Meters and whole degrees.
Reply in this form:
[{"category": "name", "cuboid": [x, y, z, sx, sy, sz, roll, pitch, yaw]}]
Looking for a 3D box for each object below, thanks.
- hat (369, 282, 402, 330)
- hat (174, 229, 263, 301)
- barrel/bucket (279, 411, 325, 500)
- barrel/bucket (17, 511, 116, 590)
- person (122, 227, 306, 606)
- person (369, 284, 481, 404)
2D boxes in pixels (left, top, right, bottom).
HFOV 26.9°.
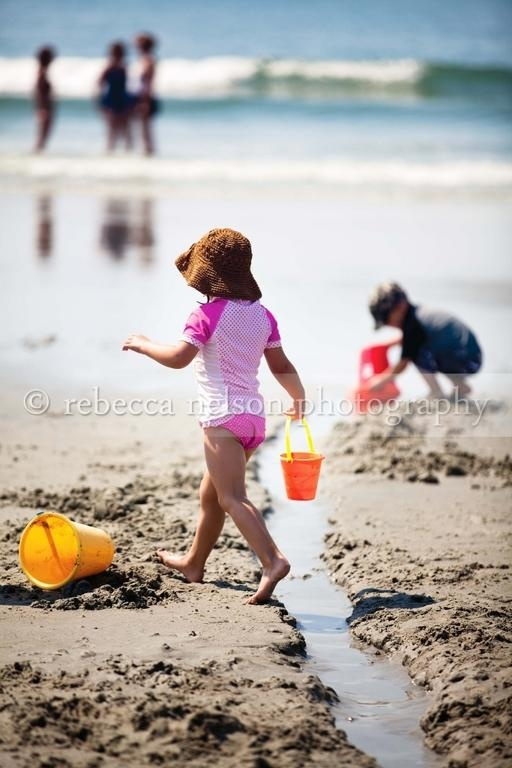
[{"category": "hat", "cuboid": [0.851, -0.513, 6.987, 0.245, 0.309, 0.210, 3, 3, 19]}, {"category": "hat", "cuboid": [-0.174, -0.623, 5.155, 0.472, 0.254, 0.515, 19, 21, -9]}, {"category": "barrel/bucket", "cuboid": [0.211, 0.354, 5.410, 0.277, 0.421, 0.283, 0, 6, 0]}, {"category": "barrel/bucket", "cuboid": [-0.963, 0.807, 5.282, 0.419, 0.364, 0.322, 3, 3, 24]}, {"category": "person", "cuboid": [-0.163, 0.154, 5.117, 0.780, 1.793, 0.516, 2, 3, 2]}, {"category": "person", "cuboid": [1.109, -0.306, 7.143, 0.803, 0.701, 0.314, 1, 3, -21]}]
